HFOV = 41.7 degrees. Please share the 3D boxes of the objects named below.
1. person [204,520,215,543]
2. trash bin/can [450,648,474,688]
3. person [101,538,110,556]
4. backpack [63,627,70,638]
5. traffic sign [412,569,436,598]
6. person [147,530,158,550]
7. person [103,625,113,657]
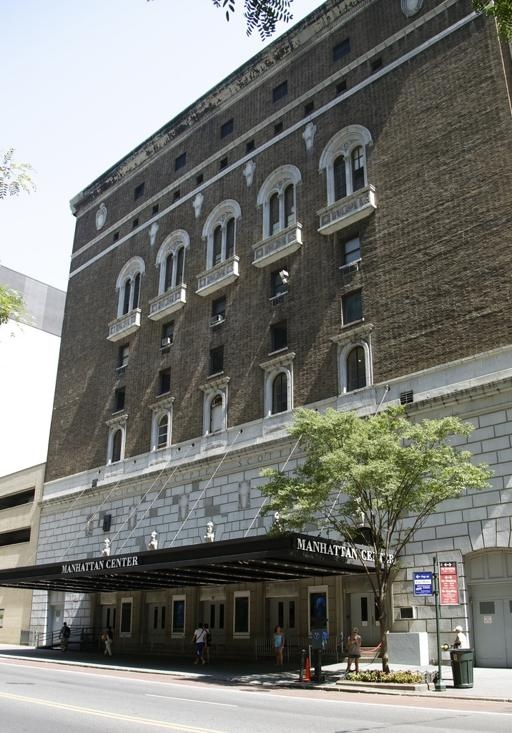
[{"bbox_3d":[-2.161,7.785,31.688,0.413,1.003,0.948,-1,-21,1],"label":"person"},{"bbox_3d":[5.111,7.463,16.589,0.489,0.876,0.474,-5,-22,13],"label":"trash bin/can"},{"bbox_3d":[-8.631,10.442,38.987,0.484,1.086,1.182,9,-23,-24],"label":"person"},{"bbox_3d":[-11.034,15.424,39.104,0.385,0.779,0.564,7,-23,-19],"label":"backpack"},{"bbox_3d":[4.543,5.859,18.178,0.496,0.558,0.435,-6,-22,14],"label":"traffic sign"},{"bbox_3d":[-5.411,9.148,35.443,0.480,1.020,0.864,3,-21,-9],"label":"person"},{"bbox_3d":[-7.925,14.659,35.959,0.434,1.320,2.316,5,-22,-13],"label":"person"}]
